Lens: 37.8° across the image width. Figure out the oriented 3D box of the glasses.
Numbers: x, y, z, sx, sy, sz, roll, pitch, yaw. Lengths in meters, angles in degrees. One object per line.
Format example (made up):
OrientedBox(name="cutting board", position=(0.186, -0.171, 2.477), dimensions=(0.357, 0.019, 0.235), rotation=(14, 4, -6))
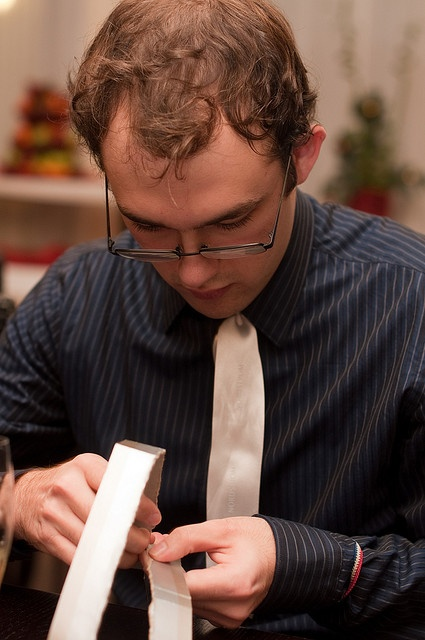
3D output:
OrientedBox(name="glasses", position=(-0.033, -0.153, 0.874), dimensions=(0.280, 0.161, 0.177), rotation=(3, 20, 5))
